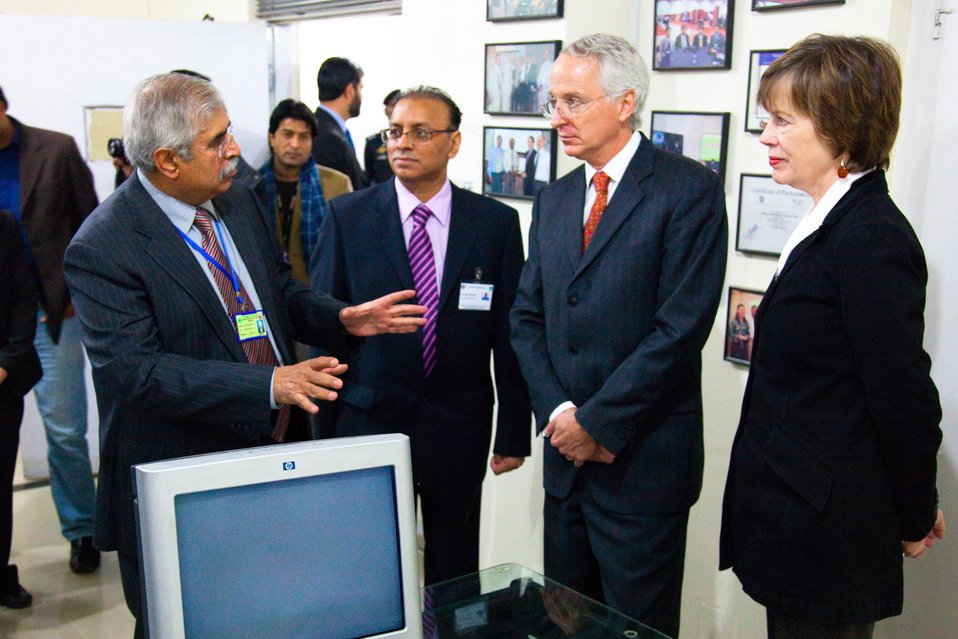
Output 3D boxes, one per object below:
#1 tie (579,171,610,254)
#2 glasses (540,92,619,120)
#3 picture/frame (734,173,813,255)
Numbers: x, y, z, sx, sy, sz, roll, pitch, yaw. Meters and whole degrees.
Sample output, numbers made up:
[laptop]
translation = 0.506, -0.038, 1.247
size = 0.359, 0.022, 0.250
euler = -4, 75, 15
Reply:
[tie]
translation = 0.416, -0.388, 2.658
size = 0.071, 0.328, 0.046
euler = 4, -10, 39
[glasses]
translation = 0.334, -0.736, 2.607
size = 0.283, 0.074, 0.095
euler = 5, 14, 33
[picture/frame]
translation = 1.239, -0.419, 3.123
size = 0.333, 0.320, 0.016
euler = 6, 1, 0
